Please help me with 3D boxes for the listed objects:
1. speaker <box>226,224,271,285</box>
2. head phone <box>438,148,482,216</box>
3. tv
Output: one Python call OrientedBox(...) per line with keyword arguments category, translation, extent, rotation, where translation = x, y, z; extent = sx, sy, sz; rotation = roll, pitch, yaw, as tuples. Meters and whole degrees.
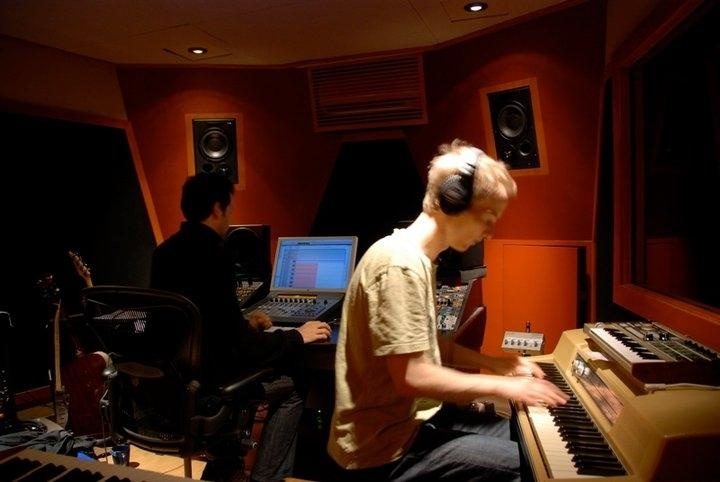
OrientedBox(category="speaker", translation=(-0.828, 0.121, 4.128), extent=(0.454, 0.549, 0.402), rotation=(-1, -15, 0))
OrientedBox(category="head phone", translation=(0.461, -0.280, 2.241), extent=(0.080, 0.217, 0.187), rotation=(26, 36, 26))
OrientedBox(category="tv", translation=(-0.340, 0.178, 3.758), extent=(0.646, 0.414, 0.412), rotation=(-2, -11, 12))
